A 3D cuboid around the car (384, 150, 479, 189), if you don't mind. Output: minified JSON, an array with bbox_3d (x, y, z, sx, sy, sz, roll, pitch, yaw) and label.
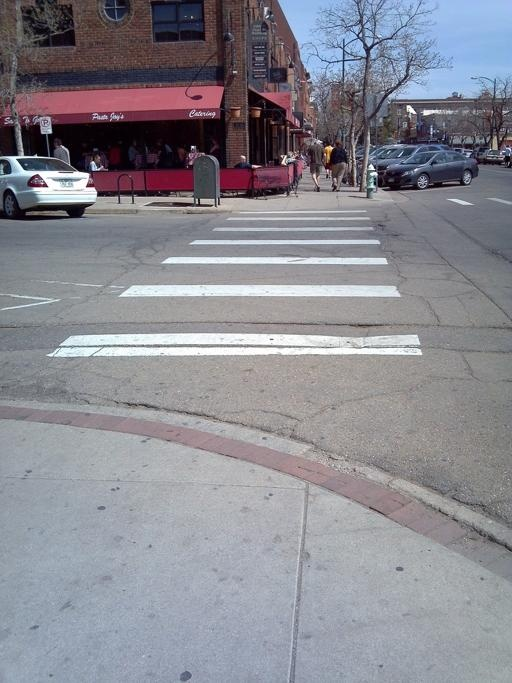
[{"bbox_3d":[8.439,-8.307,27.495,4.558,1.651,2.043,-13,22,-27],"label":"car"}]

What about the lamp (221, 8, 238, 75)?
[{"bbox_3d":[-1.123,-13.127,25.006,0.628,2.931,0.324,0,10,-3],"label":"lamp"}]
